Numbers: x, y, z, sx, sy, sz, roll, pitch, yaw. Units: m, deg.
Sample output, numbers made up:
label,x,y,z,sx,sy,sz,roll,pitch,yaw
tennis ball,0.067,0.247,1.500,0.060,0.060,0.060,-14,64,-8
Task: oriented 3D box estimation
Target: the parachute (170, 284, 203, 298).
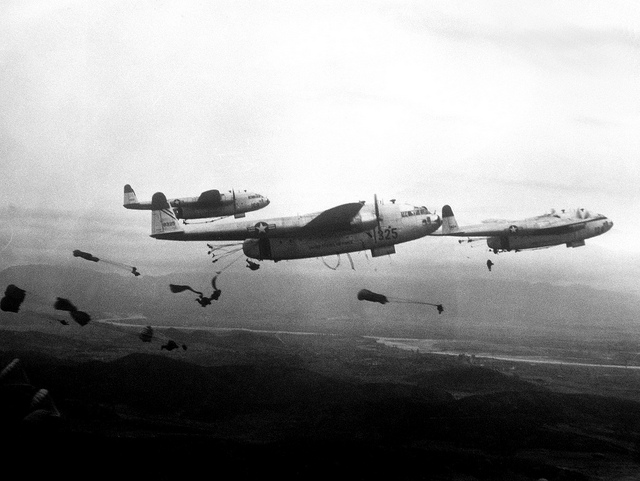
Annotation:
label,x,y,z,sx,sy,sz,roll,pitch,yaw
parachute,-8.100,2.969,31.829,0.559,0.661,1.820,43,16,35
